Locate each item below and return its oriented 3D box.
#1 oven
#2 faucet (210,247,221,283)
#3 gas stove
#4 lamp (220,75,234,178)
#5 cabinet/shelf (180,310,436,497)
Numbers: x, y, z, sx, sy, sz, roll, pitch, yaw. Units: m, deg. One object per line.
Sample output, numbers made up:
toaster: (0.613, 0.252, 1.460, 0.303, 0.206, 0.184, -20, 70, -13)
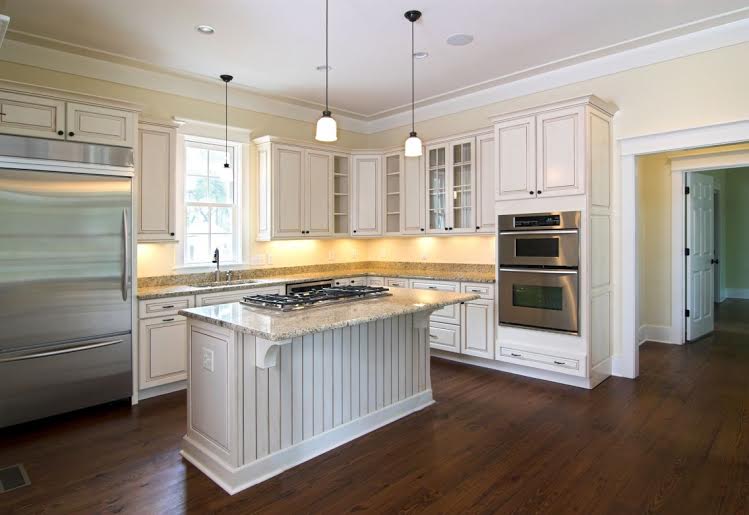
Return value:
oven: (1.829, 0.137, 5.341, 0.976, 1.337, 0.410, 6, 15, 23)
faucet: (-1.967, 0.063, 6.007, 0.104, 0.408, 0.348, -5, 15, -18)
gas stove: (-0.518, 0.335, 4.369, 1.234, 0.113, 0.579, -11, 17, -38)
lamp: (-1.825, -1.681, 5.998, 0.182, 1.095, 0.433, -5, 15, -16)
cabinet/shelf: (-0.570, 1.034, 4.156, 2.052, 1.191, 0.687, -9, 16, -31)
